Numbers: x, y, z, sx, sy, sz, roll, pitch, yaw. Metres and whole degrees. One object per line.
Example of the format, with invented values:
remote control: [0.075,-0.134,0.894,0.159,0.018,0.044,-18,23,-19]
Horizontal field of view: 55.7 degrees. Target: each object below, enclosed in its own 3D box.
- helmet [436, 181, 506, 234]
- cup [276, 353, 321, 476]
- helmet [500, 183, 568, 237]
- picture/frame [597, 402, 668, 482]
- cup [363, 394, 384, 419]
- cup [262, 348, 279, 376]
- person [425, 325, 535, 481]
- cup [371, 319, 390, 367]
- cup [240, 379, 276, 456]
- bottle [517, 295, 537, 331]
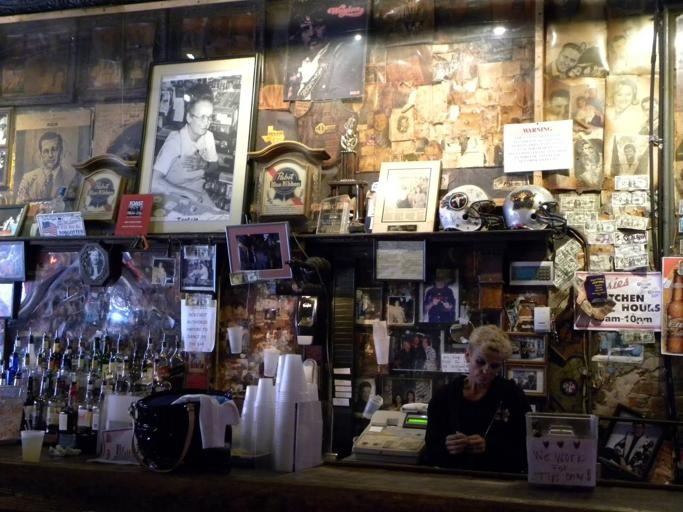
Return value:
helmet: [0.787,-0.299,4.061,0.356,0.279,0.260,4,-8,10]
cup: [-0.235,0.835,3.490,0.256,0.608,0.200,1,-4,-7]
helmet: [1.169,-0.281,3.953,0.337,0.229,0.253,3,5,1]
picture/frame: [1.829,1.112,4.026,0.372,0.508,0.150,25,-2,27]
cup: [0.208,1.010,4.320,0.129,0.166,0.116,0,-3,3]
cup: [-0.462,0.709,4.284,0.096,0.182,0.264,1,-3,-6]
person: [0.754,0.795,3.640,0.552,0.805,0.314,1,-4,-14]
cup: [0.262,0.586,4.366,0.118,0.308,0.129,0,-3,0]
cup: [-0.450,0.858,3.523,0.171,0.385,0.202,1,-3,-16]
bottle: [1.186,0.371,4.190,0.175,0.187,0.054,1,-14,22]
